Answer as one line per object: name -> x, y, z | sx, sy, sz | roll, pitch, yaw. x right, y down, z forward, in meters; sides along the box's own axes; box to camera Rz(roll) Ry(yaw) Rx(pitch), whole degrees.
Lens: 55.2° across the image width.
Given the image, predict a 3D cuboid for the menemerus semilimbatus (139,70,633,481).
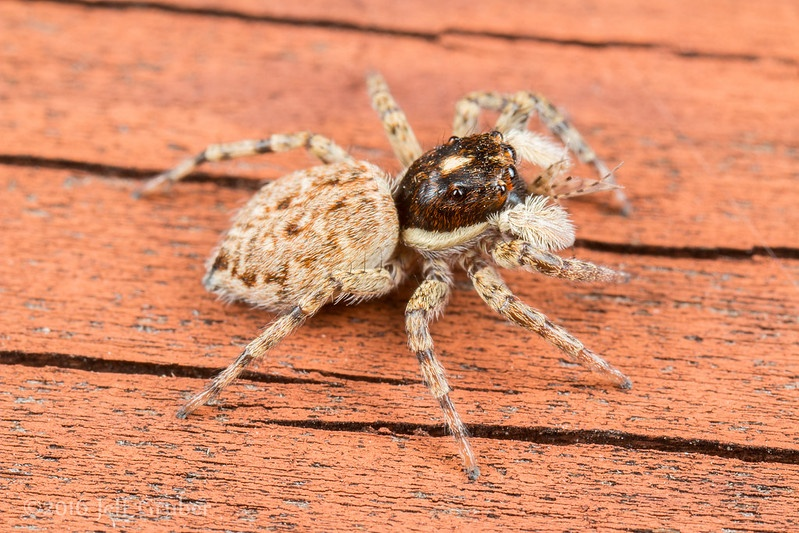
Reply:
menemerus semilimbatus -> 0.023, -0.082, 2.277 | 1.309, 0.304, 1.096 | 6, 81, 1
